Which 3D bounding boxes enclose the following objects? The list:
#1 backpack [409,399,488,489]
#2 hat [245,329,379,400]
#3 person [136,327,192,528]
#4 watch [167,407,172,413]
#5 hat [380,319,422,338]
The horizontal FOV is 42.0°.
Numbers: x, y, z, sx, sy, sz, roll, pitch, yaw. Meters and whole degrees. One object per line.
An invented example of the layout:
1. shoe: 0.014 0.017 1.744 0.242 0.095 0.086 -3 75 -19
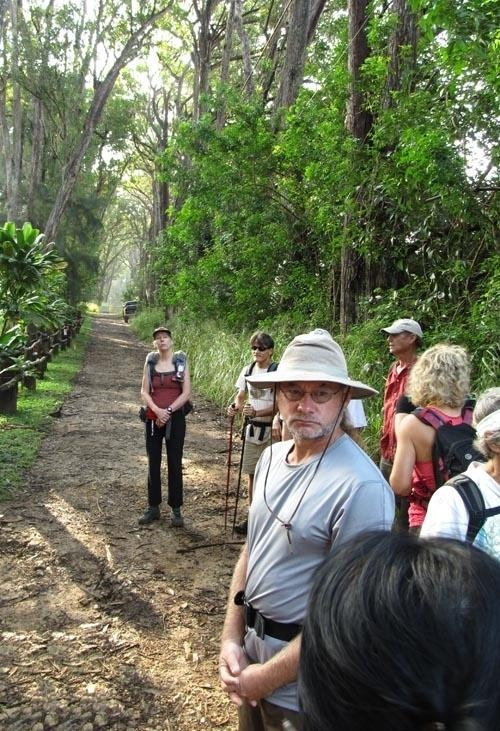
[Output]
1. backpack: 0.899 0.364 2.840 0.284 0.371 0.235 -14 13 -41
2. hat: 0.179 -0.009 2.048 0.414 0.186 0.389 6 -11 -22
3. person: -0.699 0.504 5.402 0.426 1.618 0.411 5 6 -9
4. watch: -0.640 0.359 5.236 0.032 0.046 0.043 1 -1 -17
5. hat: 0.971 -0.239 4.113 0.195 0.093 0.129 7 -1 0
